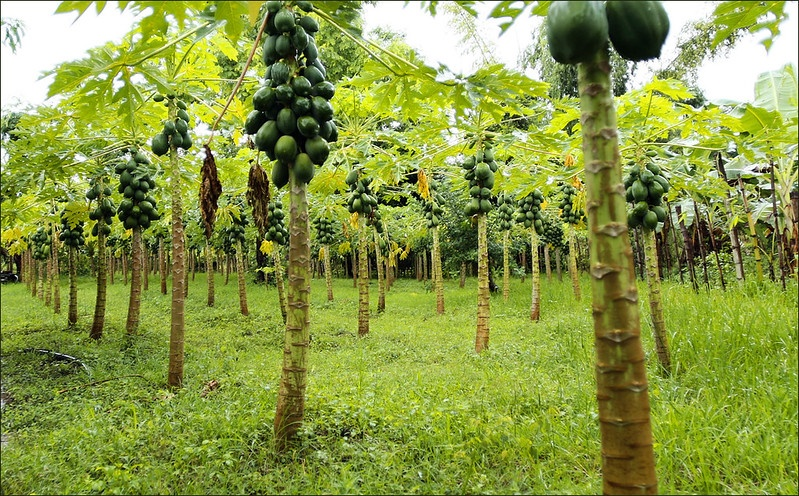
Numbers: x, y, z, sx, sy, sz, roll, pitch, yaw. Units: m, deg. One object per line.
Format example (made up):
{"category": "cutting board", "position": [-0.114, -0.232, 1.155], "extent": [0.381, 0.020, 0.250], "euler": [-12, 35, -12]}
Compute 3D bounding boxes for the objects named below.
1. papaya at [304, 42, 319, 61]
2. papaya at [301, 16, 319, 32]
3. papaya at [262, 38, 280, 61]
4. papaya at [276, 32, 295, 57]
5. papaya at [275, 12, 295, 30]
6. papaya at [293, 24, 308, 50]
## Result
{"category": "papaya", "position": [-1.126, -2.549, 6.848], "extent": [0.120, 0.261, 0.253], "euler": [2, 11, 24]}
{"category": "papaya", "position": [-1.072, -2.816, 6.701], "extent": [0.272, 0.137, 0.145], "euler": [29, -19, 29]}
{"category": "papaya", "position": [-1.617, -2.490, 6.669], "extent": [0.156, 0.306, 0.179], "euler": [-1, 10, 4]}
{"category": "papaya", "position": [-1.420, -2.529, 6.630], "extent": [0.216, 0.262, 0.205], "euler": [-9, 6, -10]}
{"category": "papaya", "position": [-1.407, -2.798, 6.530], "extent": [0.243, 0.230, 0.127], "euler": [-5, 11, -13]}
{"category": "papaya", "position": [-1.234, -2.607, 6.601], "extent": [0.190, 0.276, 0.170], "euler": [-5, -14, -21]}
